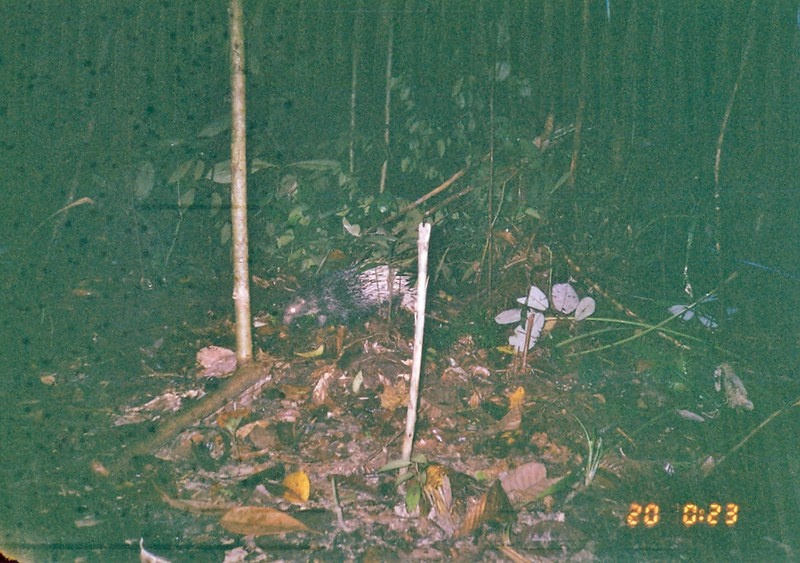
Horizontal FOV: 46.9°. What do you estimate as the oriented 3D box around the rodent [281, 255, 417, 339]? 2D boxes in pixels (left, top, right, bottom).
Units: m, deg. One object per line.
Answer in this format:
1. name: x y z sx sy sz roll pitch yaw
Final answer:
1. rodent: -0.150 0.047 3.013 0.514 0.266 0.181 -15 57 2
